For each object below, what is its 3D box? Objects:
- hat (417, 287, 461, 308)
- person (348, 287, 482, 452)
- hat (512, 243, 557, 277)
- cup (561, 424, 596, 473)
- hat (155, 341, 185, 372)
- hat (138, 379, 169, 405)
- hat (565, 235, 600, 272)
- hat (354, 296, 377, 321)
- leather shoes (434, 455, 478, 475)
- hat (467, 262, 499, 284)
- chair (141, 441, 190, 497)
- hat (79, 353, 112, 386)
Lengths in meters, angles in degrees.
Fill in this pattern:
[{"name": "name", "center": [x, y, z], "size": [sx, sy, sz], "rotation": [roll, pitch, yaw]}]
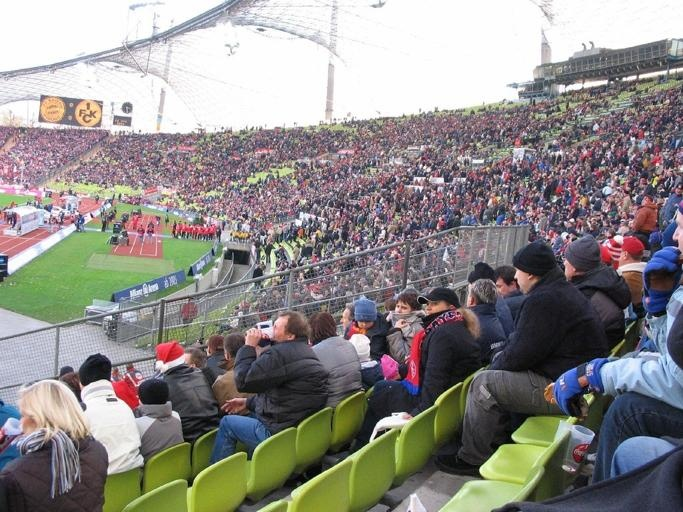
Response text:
[{"name": "hat", "center": [0.852, 0.335, 5.493], "size": [0.277, 0.144, 0.187], "rotation": [8, -12, 3]}, {"name": "person", "center": [0.608, 1.071, 5.344], "size": [1.079, 1.666, 1.119], "rotation": [5, -8, 10]}, {"name": "hat", "center": [1.402, 0.014, 4.678], "size": [0.241, 0.186, 0.237], "rotation": [6, 10, 30]}, {"name": "cup", "center": [1.376, 1.139, 3.796], "size": [0.206, 0.264, 0.150], "rotation": [10, 5, -37]}, {"name": "hat", "center": [-1.529, 0.874, 5.831], "size": [0.235, 0.223, 0.187], "rotation": [-12, 8, -6]}, {"name": "hat", "center": [-1.470, 0.999, 4.920], "size": [0.166, 0.219, 0.212], "rotation": [0, 7, -34]}, {"name": "hat", "center": [2.219, -0.047, 5.745], "size": [0.309, 0.340, 0.385], "rotation": [-7, 1, -10]}, {"name": "hat", "center": [0.233, 0.510, 6.262], "size": [0.165, 0.195, 0.226], "rotation": [-1, 2, -9]}, {"name": "leather shoes", "center": [0.884, 1.590, 4.891], "size": [0.319, 0.138, 0.119], "rotation": [-1, 1, 31]}, {"name": "hat", "center": [1.435, 0.145, 6.675], "size": [0.305, 0.282, 0.221], "rotation": [1, 10, -45]}, {"name": "chair", "center": [-1.309, 1.547, 4.858], "size": [0.304, 0.446, 0.257], "rotation": [13, 11, 37]}, {"name": "hat", "center": [-1.859, 0.869, 4.917], "size": [0.176, 0.174, 0.136], "rotation": [-14, -1, -18]}]
